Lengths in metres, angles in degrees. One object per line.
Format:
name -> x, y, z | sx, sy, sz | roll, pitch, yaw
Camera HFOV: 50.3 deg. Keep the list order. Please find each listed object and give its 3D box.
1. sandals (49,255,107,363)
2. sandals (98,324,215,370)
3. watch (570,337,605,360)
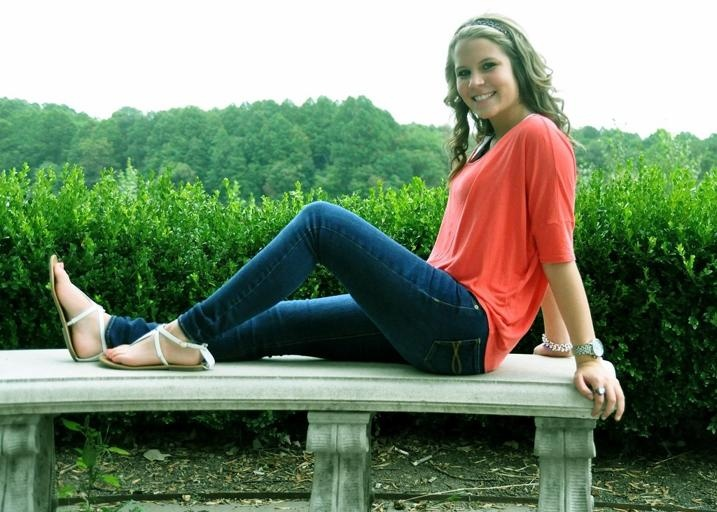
sandals -> -1.504, 0.311, 4.163 | 0.235, 0.659, 0.150 | -18, 10, -10
sandals -> -1.013, 0.495, 3.952 | 0.570, 0.227, 0.235 | 5, -5, -2
watch -> 1.145, 0.459, 3.785 | 0.108, 0.069, 0.110 | -5, -5, 9
